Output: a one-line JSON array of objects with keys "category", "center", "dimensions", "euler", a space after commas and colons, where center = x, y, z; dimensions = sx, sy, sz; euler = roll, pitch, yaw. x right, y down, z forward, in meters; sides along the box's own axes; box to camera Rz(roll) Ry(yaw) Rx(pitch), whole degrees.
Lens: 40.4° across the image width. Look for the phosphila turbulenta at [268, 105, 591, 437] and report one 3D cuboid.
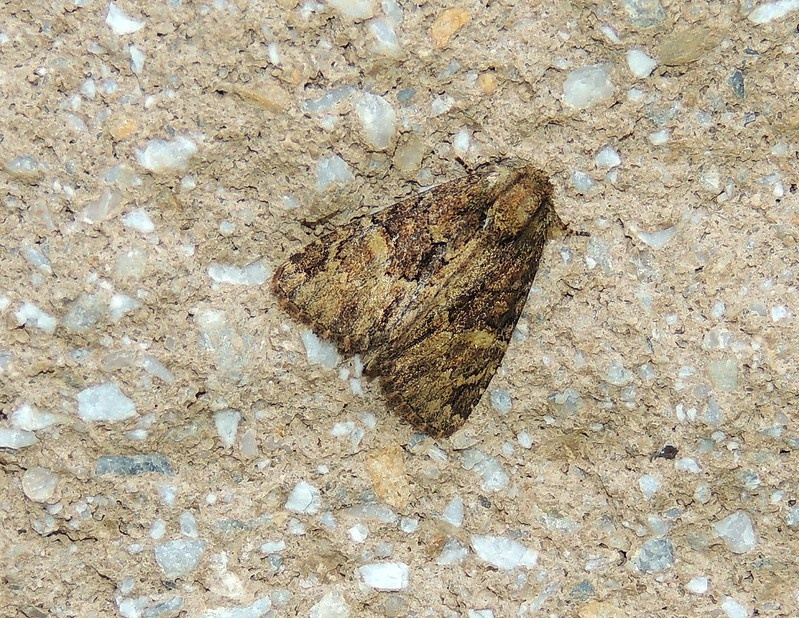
[{"category": "phosphila turbulenta", "center": [0.066, -0.108, 2.317], "dimensions": [0.510, 0.170, 0.580], "euler": [38, 87, 2]}]
